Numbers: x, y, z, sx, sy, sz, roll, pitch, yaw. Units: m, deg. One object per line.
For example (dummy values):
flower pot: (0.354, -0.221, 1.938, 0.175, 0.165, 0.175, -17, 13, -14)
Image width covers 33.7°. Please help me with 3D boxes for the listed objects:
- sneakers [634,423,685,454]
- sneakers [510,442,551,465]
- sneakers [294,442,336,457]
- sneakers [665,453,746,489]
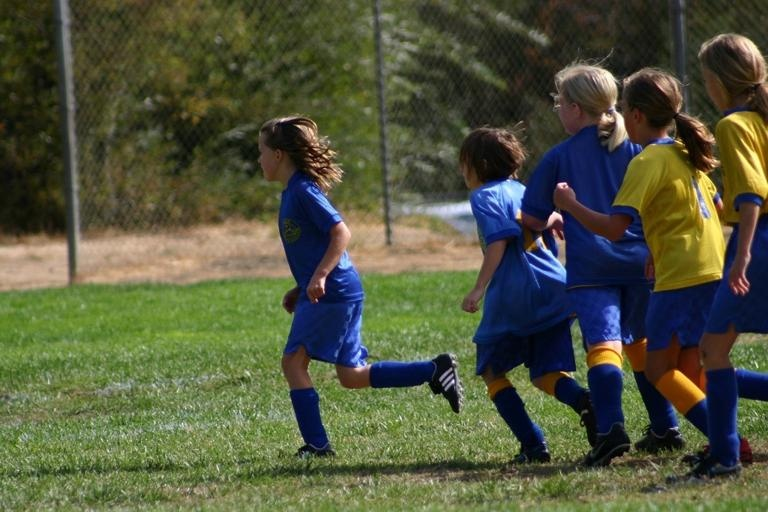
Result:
sneakers: (1.959, 1.262, 8.940, 0.286, 0.141, 0.163, 1, 2, 30)
sneakers: (1.056, 1.390, 8.989, 0.291, 0.139, 0.114, -1, -5, 13)
sneakers: (-0.493, 1.392, 9.185, 0.275, 0.132, 0.107, 3, -2, 2)
sneakers: (2.134, 1.389, 8.368, 0.546, 0.242, 0.197, -1, -4, 3)
